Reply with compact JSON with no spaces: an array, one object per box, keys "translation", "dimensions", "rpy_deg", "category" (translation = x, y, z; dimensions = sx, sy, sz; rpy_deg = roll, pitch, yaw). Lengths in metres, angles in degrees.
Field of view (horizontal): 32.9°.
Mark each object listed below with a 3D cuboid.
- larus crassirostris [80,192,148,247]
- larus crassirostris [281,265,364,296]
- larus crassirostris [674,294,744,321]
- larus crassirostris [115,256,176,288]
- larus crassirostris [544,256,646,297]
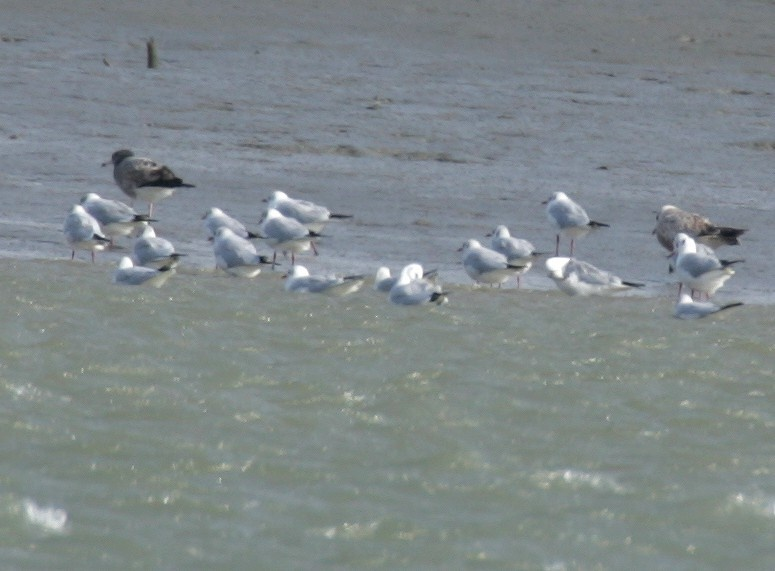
[{"translation":[-4.536,-1.089,22.047],"dimensions":[1.539,0.662,0.542],"rpy_deg":[5,7,29],"category":"larus crassirostris"},{"translation":[-1.001,-0.049,20.359],"dimensions":[1.126,0.319,0.792],"rpy_deg":[1,22,-6],"category":"larus crassirostris"},{"translation":[4.776,0.377,19.894],"dimensions":[0.894,0.304,0.538],"rpy_deg":[12,25,19],"category":"larus crassirostris"},{"translation":[-3.726,-0.150,20.023],"dimensions":[0.877,0.372,0.671],"rpy_deg":[2,24,-5],"category":"larus crassirostris"},{"translation":[3.175,-0.086,20.744],"dimensions":[1.424,0.579,0.435],"rpy_deg":[5,30,4],"category":"larus crassirostris"}]
